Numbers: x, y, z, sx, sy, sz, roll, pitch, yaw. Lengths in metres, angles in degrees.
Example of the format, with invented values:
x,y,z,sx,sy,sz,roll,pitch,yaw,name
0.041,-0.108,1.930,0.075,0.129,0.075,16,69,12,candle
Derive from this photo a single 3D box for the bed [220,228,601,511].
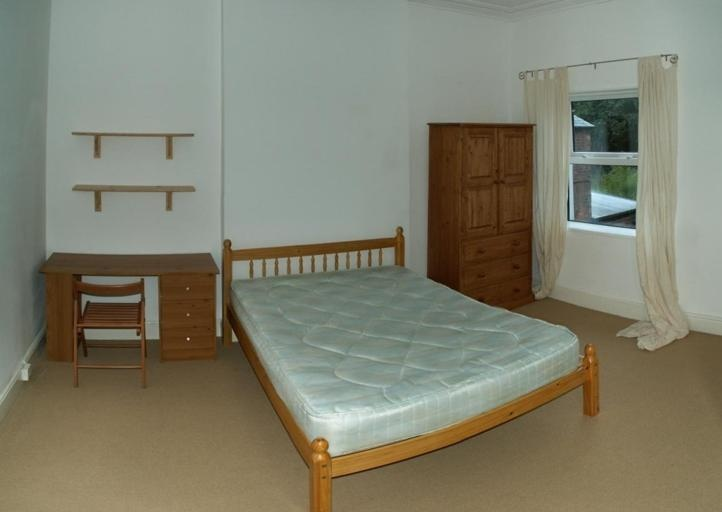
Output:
x,y,z,sx,sy,sz,roll,pitch,yaw,name
0.304,0.626,5.315,2.726,1.544,2.974,-8,11,-24,bed

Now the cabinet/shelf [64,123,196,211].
x,y,z,sx,sy,sz,roll,pitch,yaw,name
-2.366,-0.877,5.906,1.243,0.875,0.279,-4,9,-4,cabinet/shelf

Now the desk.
x,y,z,sx,sy,sz,roll,pitch,yaw,name
-2.392,0.540,5.881,1.589,1.074,0.744,1,18,-21,desk
